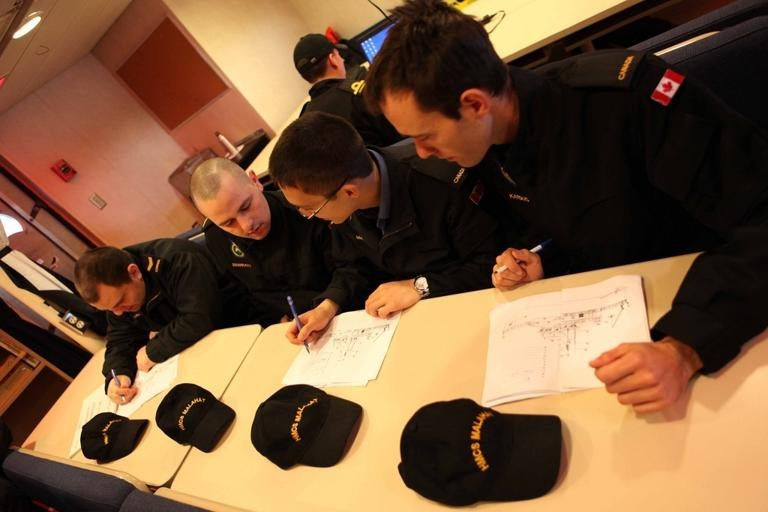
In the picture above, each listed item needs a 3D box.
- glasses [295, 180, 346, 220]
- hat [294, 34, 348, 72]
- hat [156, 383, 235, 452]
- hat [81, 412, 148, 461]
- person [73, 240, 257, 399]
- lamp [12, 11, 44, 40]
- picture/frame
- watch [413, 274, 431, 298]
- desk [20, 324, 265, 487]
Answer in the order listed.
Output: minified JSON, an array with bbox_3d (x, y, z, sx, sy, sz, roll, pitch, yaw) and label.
[{"bbox_3d":[-0.283,-0.255,2.546,0.167,0.049,0.175,22,75,50],"label":"glasses"},{"bbox_3d":[-0.459,-1.372,3.880,0.224,0.157,0.273,3,51,46],"label":"hat"},{"bbox_3d":[-0.841,0.718,2.552,0.341,0.099,0.225,20,73,36],"label":"hat"},{"bbox_3d":[-1.297,0.854,2.687,0.278,0.104,0.201,-6,44,35],"label":"hat"},{"bbox_3d":[-1.311,0.253,3.302,0.680,0.682,0.917,-33,4,38],"label":"person"},{"bbox_3d":[-2.010,-1.299,3.194,0.160,0.040,0.164,-41,13,10],"label":"lamp"},{"bbox_3d":[-1.867,-1.548,4.917,0.852,0.518,0.176,-13,33,32],"label":"picture/frame"},{"bbox_3d":[0.162,0.140,2.632,0.058,0.094,0.090,-20,-15,-8],"label":"watch"},{"bbox_3d":[-1.003,0.732,2.772,1.037,0.250,0.748,-3,48,50],"label":"desk"}]
